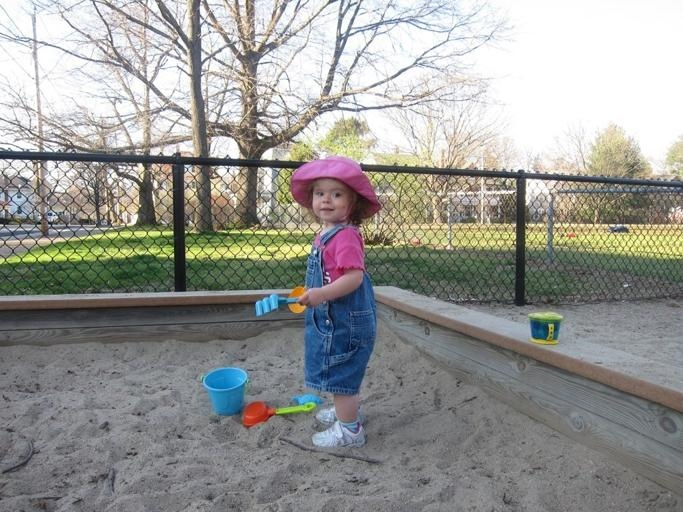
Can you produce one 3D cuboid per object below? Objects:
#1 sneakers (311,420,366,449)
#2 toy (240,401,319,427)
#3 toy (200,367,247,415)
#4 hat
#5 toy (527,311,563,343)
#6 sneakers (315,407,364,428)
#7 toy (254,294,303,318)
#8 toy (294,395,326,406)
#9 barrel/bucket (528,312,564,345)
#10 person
[{"bbox_3d":[-0.002,1.028,3.447,0.374,0.166,0.126,2,2,1],"label":"sneakers"},{"bbox_3d":[-0.396,0.951,3.587,0.328,0.046,0.178,0,6,-8],"label":"toy"},{"bbox_3d":[-0.725,0.846,3.699,0.274,0.195,0.262,0,9,2],"label":"toy"},{"bbox_3d":[-0.034,-0.448,3.497,0.411,0.197,0.415,7,-33,10],"label":"hat"},{"bbox_3d":[1.177,0.401,3.410,0.180,0.134,0.168,4,3,31],"label":"toy"},{"bbox_3d":[-0.012,0.967,3.538,0.312,0.139,0.116,4,2,-1],"label":"sneakers"},{"bbox_3d":[-0.339,0.275,3.384,0.255,0.142,0.375,2,7,-2],"label":"toy"},{"bbox_3d":[-0.215,0.909,3.748,0.146,0.040,0.081,3,26,9],"label":"toy"},{"bbox_3d":[1.179,0.408,3.413,0.185,0.141,0.172,2,3,0],"label":"barrel/bucket"},{"bbox_3d":[-0.038,0.248,3.476,0.513,1.648,0.551,1,7,-3],"label":"person"}]
